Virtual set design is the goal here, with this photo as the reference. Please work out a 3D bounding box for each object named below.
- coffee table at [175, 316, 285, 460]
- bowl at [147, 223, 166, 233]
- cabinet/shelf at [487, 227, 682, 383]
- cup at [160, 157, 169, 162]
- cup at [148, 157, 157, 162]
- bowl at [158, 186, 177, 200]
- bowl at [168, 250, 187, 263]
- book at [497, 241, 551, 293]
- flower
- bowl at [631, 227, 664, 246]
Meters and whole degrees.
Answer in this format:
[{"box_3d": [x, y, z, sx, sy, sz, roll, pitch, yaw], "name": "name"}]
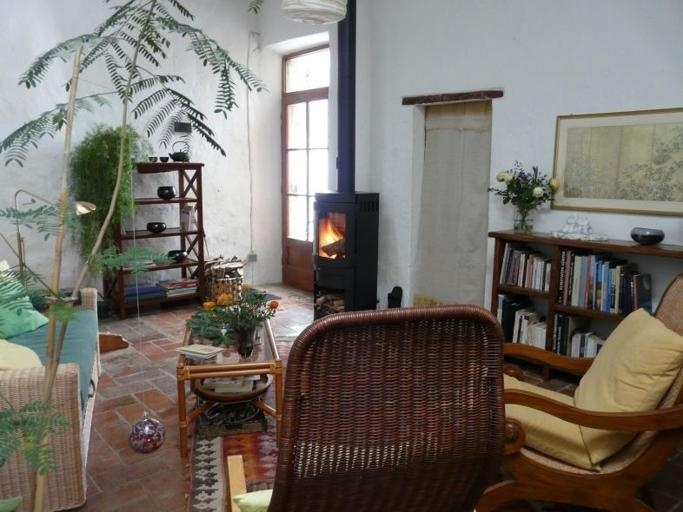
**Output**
[{"box_3d": [-0.694, 0.858, 3.358, 0.584, 0.450, 1.023, -2, -5, -11], "name": "coffee table"}, {"box_3d": [-1.912, -0.301, 5.406, 0.136, 0.068, 0.130, -2, 5, 0], "name": "bowl"}, {"box_3d": [1.560, 0.283, 3.331, 0.366, 0.711, 1.165, -3, 6, -41], "name": "cabinet/shelf"}, {"box_3d": [-1.806, -0.988, 5.373, 0.058, 0.036, 0.056, -1, 5, 0], "name": "cup"}, {"box_3d": [-1.904, -0.975, 5.326, 0.067, 0.033, 0.063, -2, 1, 0], "name": "cup"}, {"box_3d": [-1.784, -0.654, 5.405, 0.151, 0.094, 0.147, 0, 9, 0], "name": "bowl"}, {"box_3d": [-1.733, -0.012, 5.572, 0.189, 0.126, 0.339, -3, 13, -17], "name": "bowl"}, {"box_3d": [1.404, 0.091, 4.107, 0.333, 0.425, 0.474, 7, -2, -42], "name": "book"}, {"box_3d": [1.426, -0.510, 4.221, 0.537, 0.522, 0.546, -2, 9, -3], "name": "flower"}, {"box_3d": [2.034, -0.138, 3.524, 0.150, 0.077, 0.143, -2, 3, 0], "name": "bowl"}]
